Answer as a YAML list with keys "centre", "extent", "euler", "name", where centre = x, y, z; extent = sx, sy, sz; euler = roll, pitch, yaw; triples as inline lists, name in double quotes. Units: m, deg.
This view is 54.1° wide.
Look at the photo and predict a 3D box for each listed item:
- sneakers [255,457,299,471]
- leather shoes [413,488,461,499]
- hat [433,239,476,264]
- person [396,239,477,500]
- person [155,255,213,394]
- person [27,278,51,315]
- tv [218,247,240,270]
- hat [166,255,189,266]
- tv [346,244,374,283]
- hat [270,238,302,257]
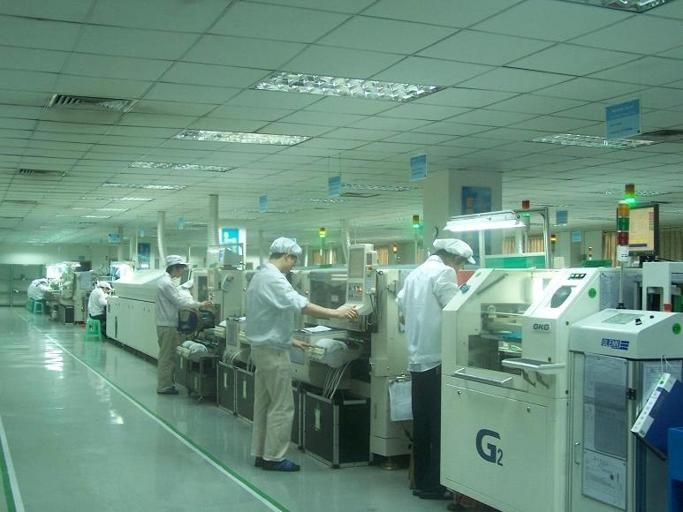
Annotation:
- centre: [-0.602, 1.941, 6.306]
  extent: [0.425, 0.148, 0.148]
  euler: [1, 0, -4]
  name: "sneakers"
- centre: [0.792, 2.047, 5.783]
  extent: [0.223, 0.052, 0.161]
  euler: [1, -3, -5]
  name: "leather shoes"
- centre: [1.039, -0.061, 6.014]
  extent: [0.335, 0.119, 0.237]
  euler: [26, 4, -21]
  name: "hat"
- centre: [0.823, 0.960, 5.903]
  extent: [0.565, 2.215, 0.533]
  euler: [-1, 1, 7]
  name: "person"
- centre: [-2.289, 0.921, 9.337]
  extent: [0.616, 1.866, 1.063]
  euler: [-1, 1, -15]
  name: "person"
- centre: [-11.130, 1.468, 24.595]
  extent: [0.761, 1.181, 1.737]
  euler: [-1, 1, -24]
  name: "person"
- centre: [-1.465, 0.055, 9.087]
  extent: [0.361, 0.338, 0.487]
  euler: [2, -5, -25]
  name: "tv"
- centre: [-2.265, 0.059, 9.214]
  extent: [0.276, 0.124, 0.189]
  euler: [-3, 6, -37]
  name: "hat"
- centre: [0.145, 0.054, 6.510]
  extent: [0.367, 0.309, 0.122]
  euler: [-1, 6, -36]
  name: "tv"
- centre: [-0.537, -0.087, 6.472]
  extent: [0.251, 0.129, 0.183]
  euler: [2, 1, 19]
  name: "hat"
